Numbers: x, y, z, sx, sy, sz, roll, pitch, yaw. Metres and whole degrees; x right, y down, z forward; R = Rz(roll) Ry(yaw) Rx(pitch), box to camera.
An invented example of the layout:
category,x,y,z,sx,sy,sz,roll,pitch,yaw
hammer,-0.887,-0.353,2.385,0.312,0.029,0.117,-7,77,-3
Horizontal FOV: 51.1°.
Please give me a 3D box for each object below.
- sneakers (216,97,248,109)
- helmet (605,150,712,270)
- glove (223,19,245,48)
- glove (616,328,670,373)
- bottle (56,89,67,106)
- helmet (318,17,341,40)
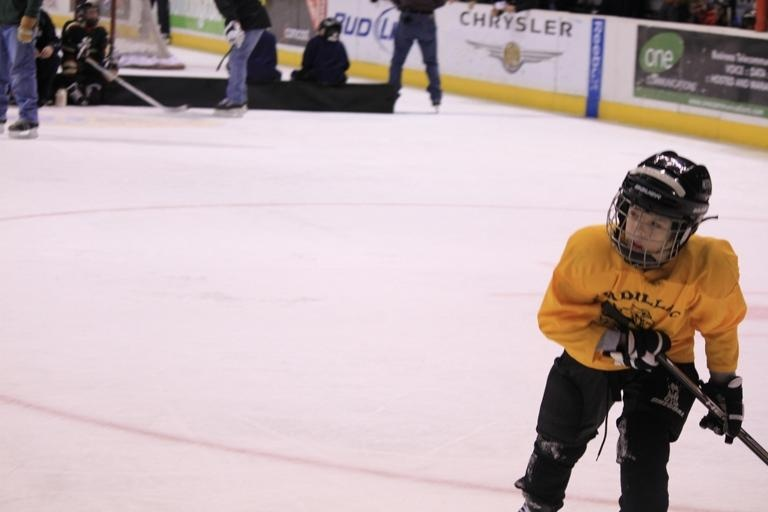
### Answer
category,x,y,z,sx,sy,sz,roll,pitch,yaw
sneakers,-1.550,-1.572,8.215,0.331,0.133,0.117,3,14,-10
helmet,0.945,-0.175,2.702,0.395,0.351,0.270,-12,36,-38
glove,-1.497,-2.204,7.909,0.180,0.233,0.088,-2,3,-32
glove,0.856,0.287,2.648,0.169,0.069,0.153,-1,27,25
bottle,-3.390,-1.680,8.441,0.132,0.180,0.065,-8,18,-35
helmet,-0.619,-2.589,9.079,0.219,0.220,0.293,18,26,6
